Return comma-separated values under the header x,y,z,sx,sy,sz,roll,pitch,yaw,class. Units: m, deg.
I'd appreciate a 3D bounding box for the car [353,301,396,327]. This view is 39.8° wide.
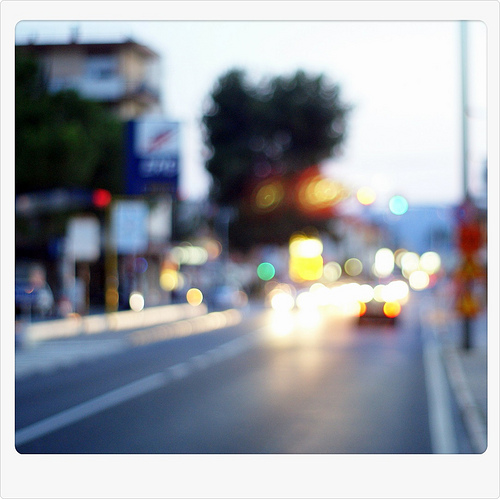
x,y,z,sx,sy,sz,roll,pitch,yaw,class
5.201,2.617,28.385,1.625,1.061,1.711,-1,-2,5,car

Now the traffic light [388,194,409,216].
x,y,z,sx,sy,sz,roll,pitch,yaw,class
1.161,-0.348,5.385,0.152,0.160,0.379,-1,-2,13,traffic light
